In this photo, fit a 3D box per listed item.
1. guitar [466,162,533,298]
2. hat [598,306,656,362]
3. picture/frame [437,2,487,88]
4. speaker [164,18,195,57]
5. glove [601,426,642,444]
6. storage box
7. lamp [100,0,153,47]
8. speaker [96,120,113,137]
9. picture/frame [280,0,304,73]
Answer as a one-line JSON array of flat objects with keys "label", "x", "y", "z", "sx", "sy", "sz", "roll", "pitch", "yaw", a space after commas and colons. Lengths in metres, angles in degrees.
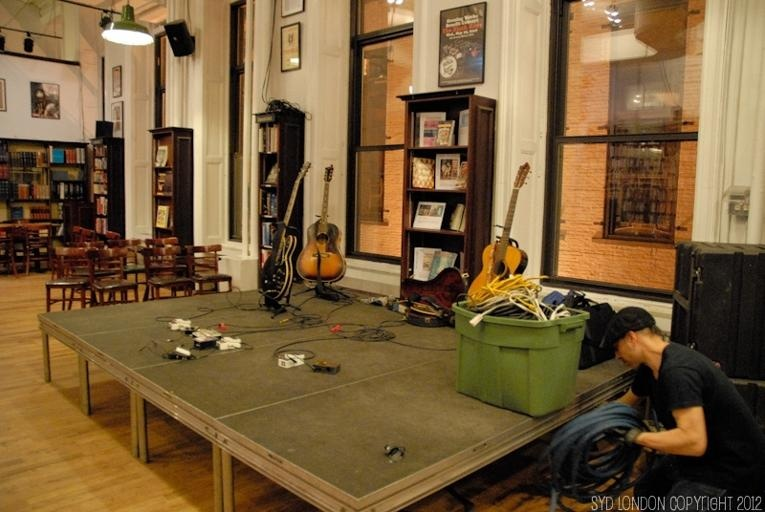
[{"label": "guitar", "x": 1.197, "y": -0.281, "z": 5.616, "sx": 0.521, "sy": 1.308, "sz": 0.826, "roll": 8, "pitch": 14, "yaw": 27}, {"label": "hat", "x": 1.490, "y": 0.473, "z": 3.583, "sx": 0.321, "sy": 0.205, "sz": 0.436, "roll": -6, "pitch": 6, "yaw": -38}, {"label": "picture/frame", "x": 0.894, "y": -2.347, "z": 6.222, "sx": 0.631, "sy": 0.858, "sz": 0.110, "roll": 13, "pitch": 17, "yaw": 41}, {"label": "speaker", "x": -3.361, "y": -3.629, "z": 9.276, "sx": 0.456, "sy": 0.542, "sz": 0.358, "roll": 8, "pitch": 14, "yaw": 25}, {"label": "glove", "x": 1.450, "y": 1.069, "z": 3.343, "sx": 0.171, "sy": 0.053, "sz": 0.118, "roll": -2, "pitch": 0, "yaw": 10}, {"label": "storage box", "x": 0.950, "y": 0.644, "z": 4.047, "sx": 0.803, "sy": 0.673, "sz": 1.079, "roll": -3, "pitch": 4, "yaw": -41}, {"label": "lamp", "x": -3.340, "y": -3.048, "z": 7.224, "sx": 0.465, "sy": 0.498, "sz": 0.488, "roll": 9, "pitch": 14, "yaw": 30}, {"label": "speaker", "x": -5.893, "y": -2.705, "z": 11.812, "sx": 0.412, "sy": 0.261, "sz": 0.266, "roll": -2, "pitch": 20, "yaw": 15}, {"label": "picture/frame", "x": -1.309, "y": -3.168, "z": 7.985, "sx": 0.146, "sy": 1.005, "sz": 0.568, "roll": -9, "pitch": 17, "yaw": -40}]
